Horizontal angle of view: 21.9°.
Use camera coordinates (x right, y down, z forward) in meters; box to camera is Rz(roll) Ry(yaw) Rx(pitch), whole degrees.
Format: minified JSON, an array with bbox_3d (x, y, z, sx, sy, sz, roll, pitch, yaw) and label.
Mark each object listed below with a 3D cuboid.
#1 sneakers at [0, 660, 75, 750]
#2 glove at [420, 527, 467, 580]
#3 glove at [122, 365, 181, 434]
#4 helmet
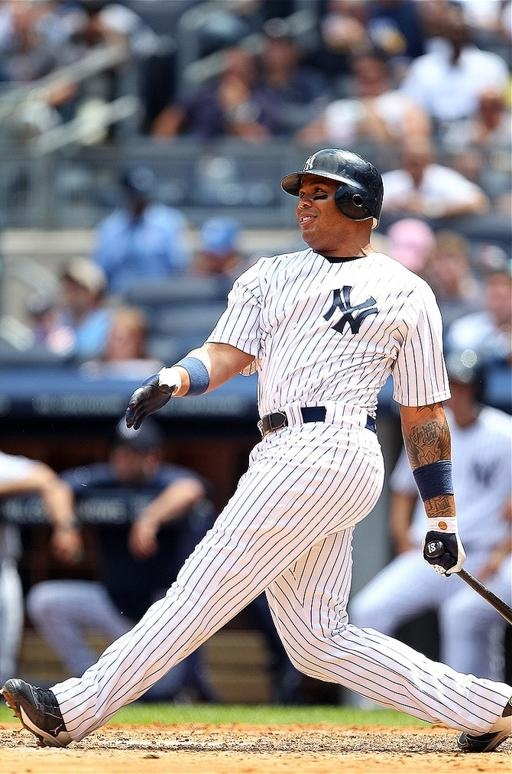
[{"bbox_3d":[-0.568,0.856,3.530,0.141,0.286,0.093,-45,24,0],"label":"sneakers"},{"bbox_3d":[0.517,0.453,3.648,0.132,0.100,0.062,45,41,10],"label":"glove"},{"bbox_3d":[-0.389,0.071,5.088,0.134,0.420,0.166,44,60,3],"label":"glove"},{"bbox_3d":[0.247,-0.569,3.734,0.287,0.192,0.187,15,77,-1],"label":"helmet"}]
